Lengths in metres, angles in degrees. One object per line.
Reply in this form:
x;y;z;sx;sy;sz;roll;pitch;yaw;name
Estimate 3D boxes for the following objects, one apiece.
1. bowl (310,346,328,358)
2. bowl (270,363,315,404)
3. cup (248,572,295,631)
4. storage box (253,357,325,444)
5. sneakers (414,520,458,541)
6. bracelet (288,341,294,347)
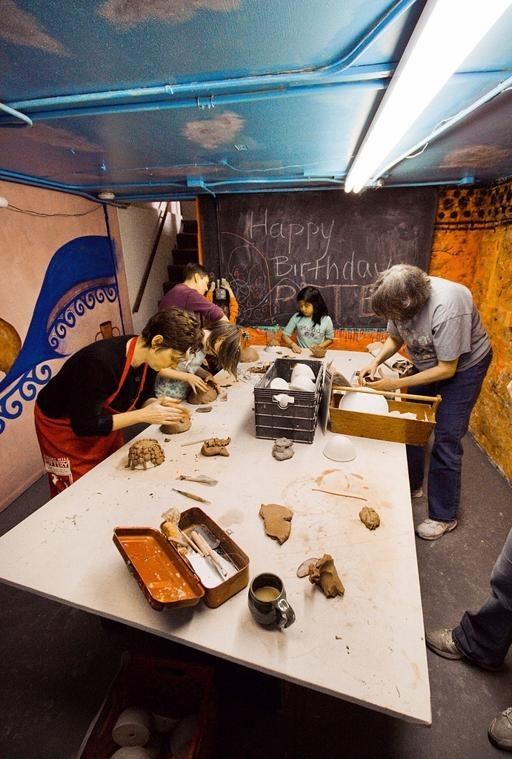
0.420;-0.182;3.298;0.069;0.044;0.080;2;18;13;bowl
0.192;0.037;2.277;0.151;0.093;0.207;14;31;23;bowl
0.034;0.574;1.242;0.082;0.095;0.136;-5;25;-14;cup
0.172;0.069;2.288;0.258;0.231;0.466;4;20;13;storage box
0.950;0.796;2.569;0.179;0.082;0.091;-4;11;-8;sneakers
0.258;-0.260;3.613;0.011;0.044;0.044;5;-6;-9;bracelet
